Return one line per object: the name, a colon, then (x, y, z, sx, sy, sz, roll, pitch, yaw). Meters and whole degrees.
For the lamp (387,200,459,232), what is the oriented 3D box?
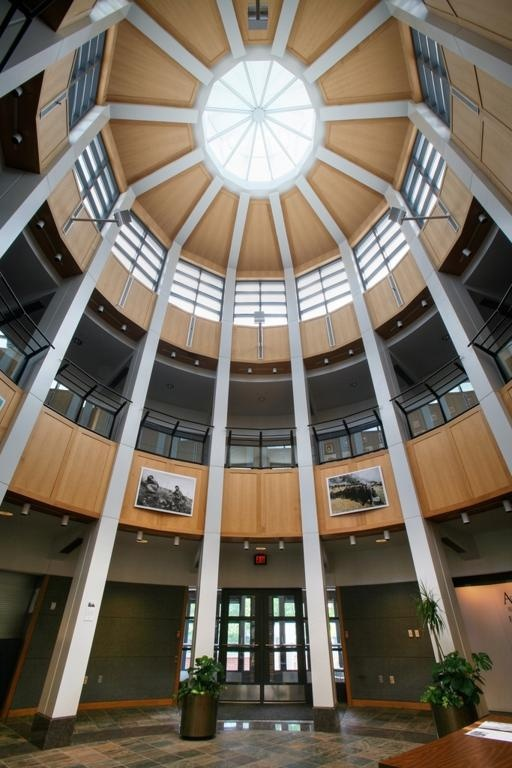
lamp: (4.767, -4.640, 9.757, 2.127, 1.662, 0.496, 0, -46, 10)

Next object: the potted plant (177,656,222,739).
potted plant: (-1.191, 6.692, 7.568, 0.969, 1.358, 0.894, -8, -37, 9)

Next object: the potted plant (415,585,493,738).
potted plant: (3.927, 5.254, 6.689, 0.891, 2.506, 1.046, 33, -49, -26)
